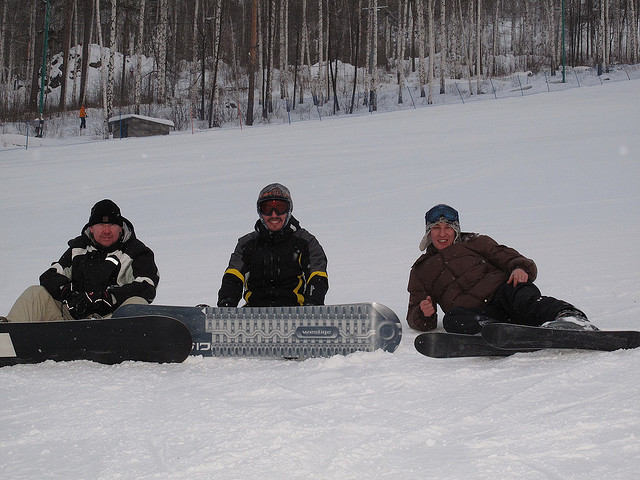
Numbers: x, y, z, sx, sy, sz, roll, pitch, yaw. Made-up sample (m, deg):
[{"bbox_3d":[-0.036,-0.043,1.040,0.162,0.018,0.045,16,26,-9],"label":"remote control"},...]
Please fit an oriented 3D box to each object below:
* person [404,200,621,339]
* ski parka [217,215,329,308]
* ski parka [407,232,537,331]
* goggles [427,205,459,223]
[{"bbox_3d":[1.871,0.305,9.793,0.936,1.445,1.985,-4,2,-33],"label":"person"},{"bbox_3d":[-0.545,0.241,10.076,1.209,1.011,0.533,-3,2,-6],"label":"ski parka"},{"bbox_3d":[1.650,0.491,10.172,1.324,1.067,0.570,-2,2,4],"label":"ski parka"},{"bbox_3d":[1.415,-0.317,10.410,0.348,0.200,0.152,-2,2,6],"label":"goggles"}]
